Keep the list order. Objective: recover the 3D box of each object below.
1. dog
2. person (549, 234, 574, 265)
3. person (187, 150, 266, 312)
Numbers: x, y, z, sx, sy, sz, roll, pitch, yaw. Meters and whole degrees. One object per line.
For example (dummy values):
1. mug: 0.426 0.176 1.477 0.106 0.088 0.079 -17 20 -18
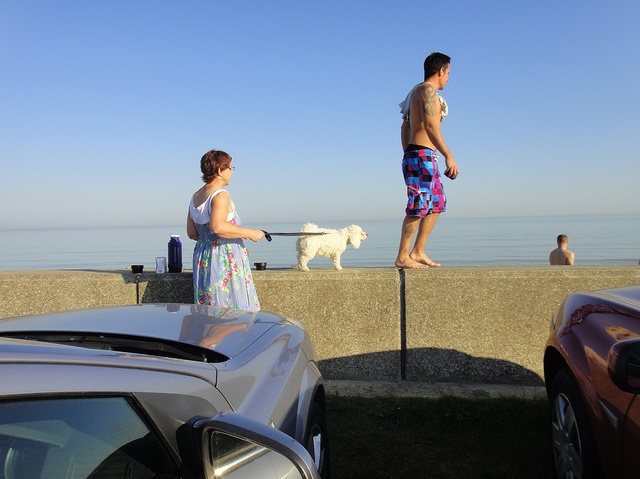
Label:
1. dog: 0.054 0.055 5.542 0.682 0.545 0.308 -1 13 -7
2. person: 4.590 0.349 11.506 0.365 0.841 0.384 7 -1 -35
3. person: -0.763 -0.051 4.643 0.633 1.236 0.513 0 8 7
